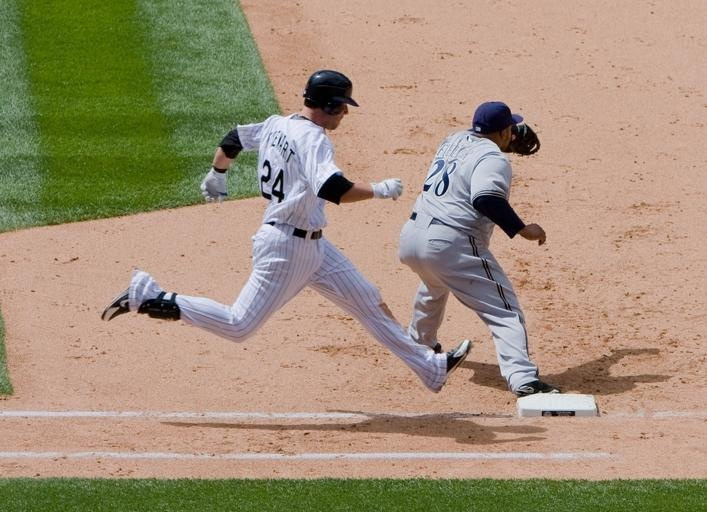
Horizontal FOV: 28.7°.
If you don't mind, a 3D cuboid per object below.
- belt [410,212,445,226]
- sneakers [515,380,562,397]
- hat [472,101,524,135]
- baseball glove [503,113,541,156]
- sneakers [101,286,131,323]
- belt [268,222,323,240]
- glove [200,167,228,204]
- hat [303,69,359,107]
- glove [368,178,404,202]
[{"bbox_3d":[0.638,-0.343,12.515,0.181,0.040,0.160,14,3,17],"label":"belt"},{"bbox_3d":[1.622,1.167,12.428,0.484,0.163,0.146,-3,4,-10],"label":"sneakers"},{"bbox_3d":[1.315,-1.284,12.616,0.459,0.202,0.280,-19,27,-31],"label":"hat"},{"bbox_3d":[1.559,-1.135,13.104,0.157,0.283,0.388,-24,50,-18],"label":"baseball glove"},{"bbox_3d":[-2.238,0.463,12.997,0.134,0.333,0.246,48,37,15],"label":"sneakers"},{"bbox_3d":[-0.500,-0.212,11.956,0.271,0.064,0.217,14,-2,1],"label":"belt"},{"bbox_3d":[-1.279,-0.653,12.846,0.289,0.370,0.144,12,23,4],"label":"glove"},{"bbox_3d":[-0.217,-1.474,12.025,0.559,0.240,0.373,4,19,-25],"label":"hat"},{"bbox_3d":[0.271,-0.553,11.722,0.403,0.187,0.198,3,-6,7],"label":"glove"}]
